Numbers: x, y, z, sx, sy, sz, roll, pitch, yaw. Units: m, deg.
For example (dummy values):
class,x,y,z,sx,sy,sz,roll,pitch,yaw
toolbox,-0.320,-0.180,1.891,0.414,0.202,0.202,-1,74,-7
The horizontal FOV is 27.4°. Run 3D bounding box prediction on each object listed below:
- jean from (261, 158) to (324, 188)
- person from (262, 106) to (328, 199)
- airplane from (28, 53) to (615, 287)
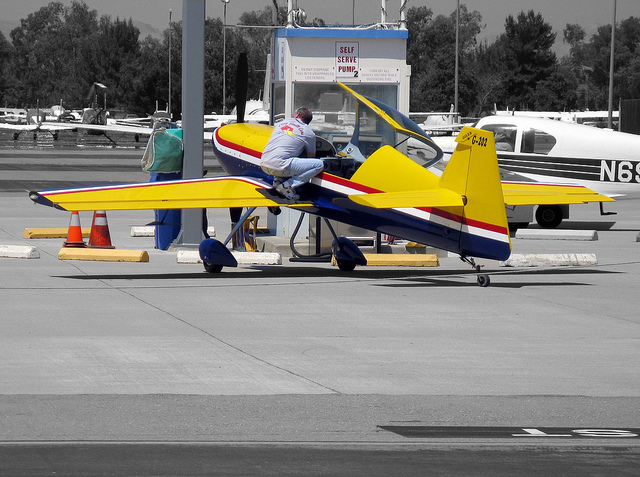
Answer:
class,x,y,z,sx,sy,sz,roll,pitch,yaw
jean,-0.364,-0.963,19.565,0.837,0.443,0.190,2,11,2
person,-0.410,-1.328,19.863,0.991,1.336,1.028,7,10,-33
airplane,0.231,-0.844,20.673,9.291,2.933,7.059,-4,9,-38
